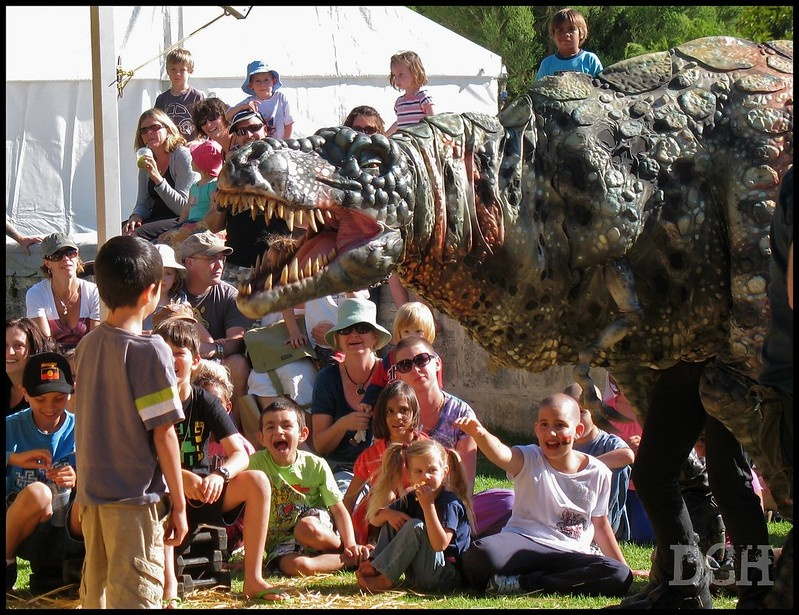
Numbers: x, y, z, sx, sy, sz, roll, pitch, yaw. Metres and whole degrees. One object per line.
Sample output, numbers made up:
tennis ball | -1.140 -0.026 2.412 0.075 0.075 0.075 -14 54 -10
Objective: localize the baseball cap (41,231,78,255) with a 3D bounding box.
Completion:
baseball cap | -2.506 -0.464 8.622 0.176 0.133 0.235 -12 -6 -33

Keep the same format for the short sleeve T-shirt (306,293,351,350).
short sleeve T-shirt | -0.471 0.111 7.625 0.222 0.314 0.171 -21 -29 15

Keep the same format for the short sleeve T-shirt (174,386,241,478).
short sleeve T-shirt | -1.025 0.666 6.216 0.404 0.409 0.214 -15 8 -21

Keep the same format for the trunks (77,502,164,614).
trunks | -1.269 1.144 5.425 0.403 0.629 0.223 -4 -14 11

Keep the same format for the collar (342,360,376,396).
collar | -0.251 0.444 7.362 0.197 0.360 0.037 -1 -20 4

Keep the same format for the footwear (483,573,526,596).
footwear | 0.546 1.446 6.213 0.227 0.104 0.083 8 -14 -18

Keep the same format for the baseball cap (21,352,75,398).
baseball cap | -1.888 0.368 6.357 0.262 0.227 0.196 6 -15 -18

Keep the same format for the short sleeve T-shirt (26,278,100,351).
short sleeve T-shirt | -2.298 0.057 8.059 0.428 0.450 0.243 -4 5 -21

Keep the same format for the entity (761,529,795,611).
entity | 1.535 1.077 4.755 0.059 0.257 0.141 10 -17 -32

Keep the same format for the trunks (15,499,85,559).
trunks | -1.888 1.210 6.404 0.307 0.330 0.125 -22 13 -14

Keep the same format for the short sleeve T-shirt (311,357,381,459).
short sleeve T-shirt | -0.401 0.667 7.385 0.359 0.532 0.195 0 -8 13

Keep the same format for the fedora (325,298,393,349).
fedora | -0.249 0.086 7.551 0.282 0.198 0.369 -7 -26 8

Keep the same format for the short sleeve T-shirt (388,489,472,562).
short sleeve T-shirt | 0.168 1.126 6.321 0.378 0.398 0.338 -7 -4 -15

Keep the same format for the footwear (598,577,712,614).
footwear | 1.224 1.356 5.725 0.534 0.230 0.201 1 -10 10
